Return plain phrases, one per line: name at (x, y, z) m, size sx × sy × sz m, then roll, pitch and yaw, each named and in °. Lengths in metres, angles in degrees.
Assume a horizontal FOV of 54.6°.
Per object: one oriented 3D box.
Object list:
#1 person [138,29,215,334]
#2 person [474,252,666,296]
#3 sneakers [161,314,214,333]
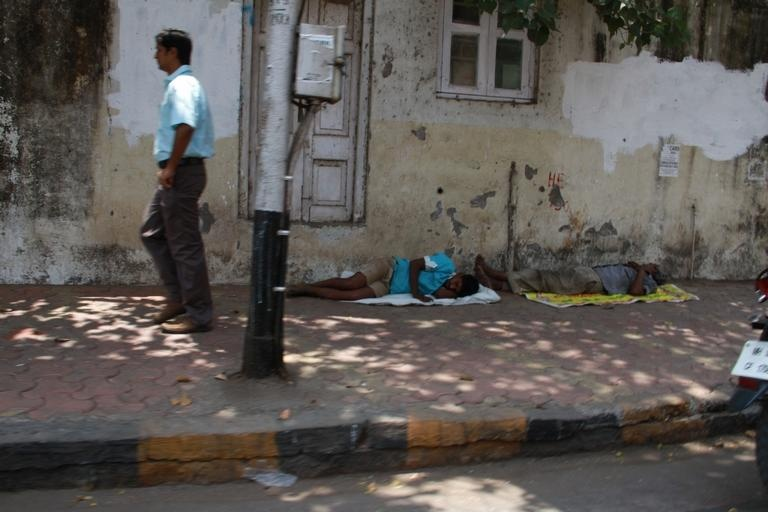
person at (-1.876, -0.670, 6.806) m, size 0.567 × 2.752 × 0.555 m, roll -4°, pitch 11°, yaw -32°
person at (2.365, 0.216, 9.418) m, size 2.072 × 0.375 × 0.760 m, roll -2°, pitch 1°, yaw -3°
sneakers at (-1.842, 0.627, 6.900) m, size 0.427 × 0.125 × 0.178 m, roll 3°, pitch -1°, yaw -19°
